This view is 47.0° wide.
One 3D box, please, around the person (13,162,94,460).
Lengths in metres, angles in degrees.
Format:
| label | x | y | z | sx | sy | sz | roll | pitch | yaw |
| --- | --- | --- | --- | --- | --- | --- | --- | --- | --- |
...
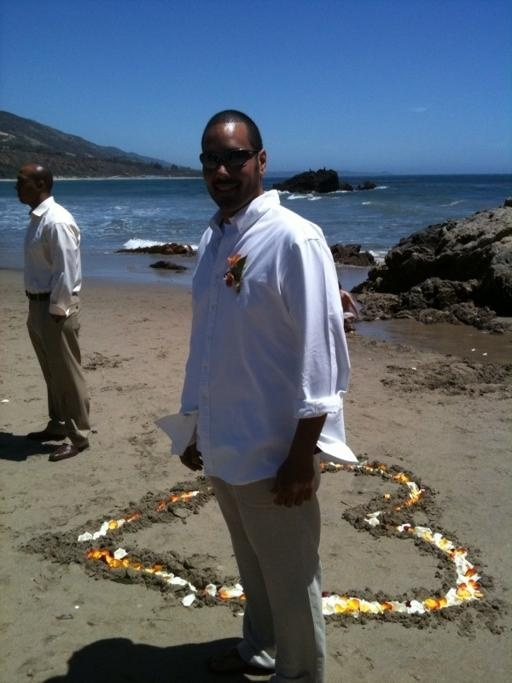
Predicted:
| label | x | y | z | sx | sy | sz | roll | pitch | yaw |
| --- | --- | --- | --- | --- | --- | --- | --- | --- | --- |
| person | -1.597 | -0.221 | 4.627 | 0.492 | 2.287 | 0.706 | -7 | 17 | -27 |

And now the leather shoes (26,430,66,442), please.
| label | x | y | z | sx | sy | sz | roll | pitch | yaw |
| --- | --- | --- | --- | --- | --- | --- | --- | --- | --- |
| leather shoes | -1.773 | 0.799 | 5.000 | 0.333 | 0.113 | 0.115 | 5 | 3 | -10 |
